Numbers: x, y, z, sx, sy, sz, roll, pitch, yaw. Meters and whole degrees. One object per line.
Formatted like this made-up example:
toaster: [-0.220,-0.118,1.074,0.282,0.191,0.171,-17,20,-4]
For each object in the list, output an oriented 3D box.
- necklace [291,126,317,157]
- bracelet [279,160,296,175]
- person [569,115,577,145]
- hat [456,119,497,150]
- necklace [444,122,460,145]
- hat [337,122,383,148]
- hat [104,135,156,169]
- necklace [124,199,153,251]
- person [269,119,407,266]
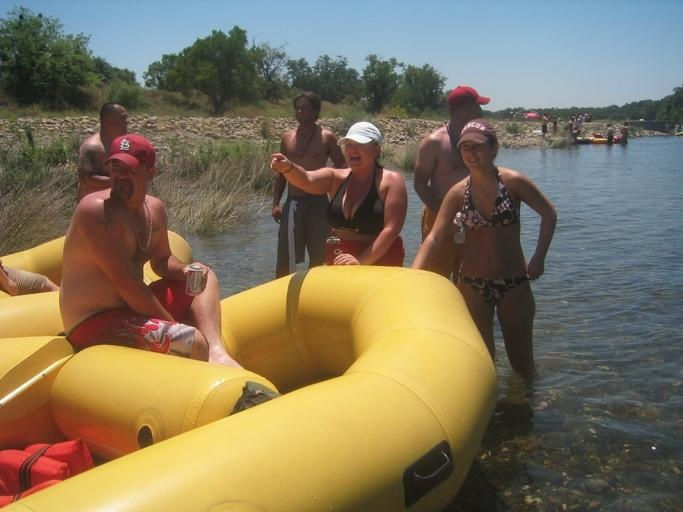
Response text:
necklace: [-0.370,-1.213,6.944,0.193,0.324,0.019,16,-9,37]
bracelet: [-0.390,-0.656,4.805,0.032,0.088,0.088,37,-14,-21]
person: [13.638,-7.197,37.573,0.531,1.489,1.400,5,16,19]
hat: [0.991,-0.875,4.636,0.258,0.174,0.309,5,16,18]
necklace: [0.969,-1.056,5.595,0.114,0.167,0.052,-3,3,26]
hat: [0.189,-0.932,4.947,0.179,0.136,0.251,1,-3,38]
hat: [-1.318,-0.672,4.183,0.186,0.153,0.283,4,5,4]
necklace: [-1.334,-0.198,4.275,0.058,0.268,0.174,9,19,32]
person: [0.071,-0.469,4.957,0.861,1.058,0.719,4,15,15]
